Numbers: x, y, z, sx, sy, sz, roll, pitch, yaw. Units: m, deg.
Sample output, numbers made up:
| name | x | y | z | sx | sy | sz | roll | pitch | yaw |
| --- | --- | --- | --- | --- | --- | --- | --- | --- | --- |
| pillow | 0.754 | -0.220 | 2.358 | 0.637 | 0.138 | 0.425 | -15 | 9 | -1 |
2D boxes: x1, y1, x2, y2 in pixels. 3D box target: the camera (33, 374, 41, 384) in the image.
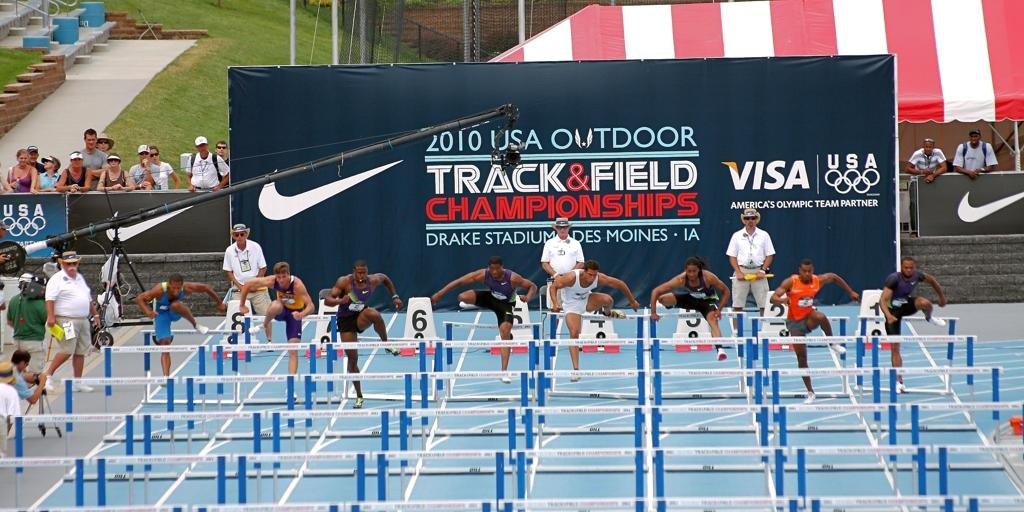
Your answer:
| name | x | y | z | sx | sy | sz | roll | pitch | yaw |
| --- | --- | --- | --- | --- | --- | --- | --- | --- | --- |
| camera | -15.365 | 3.909 | 59.487 | 0.184 | 0.270 | 0.251 | -2 | 29 | -9 |
